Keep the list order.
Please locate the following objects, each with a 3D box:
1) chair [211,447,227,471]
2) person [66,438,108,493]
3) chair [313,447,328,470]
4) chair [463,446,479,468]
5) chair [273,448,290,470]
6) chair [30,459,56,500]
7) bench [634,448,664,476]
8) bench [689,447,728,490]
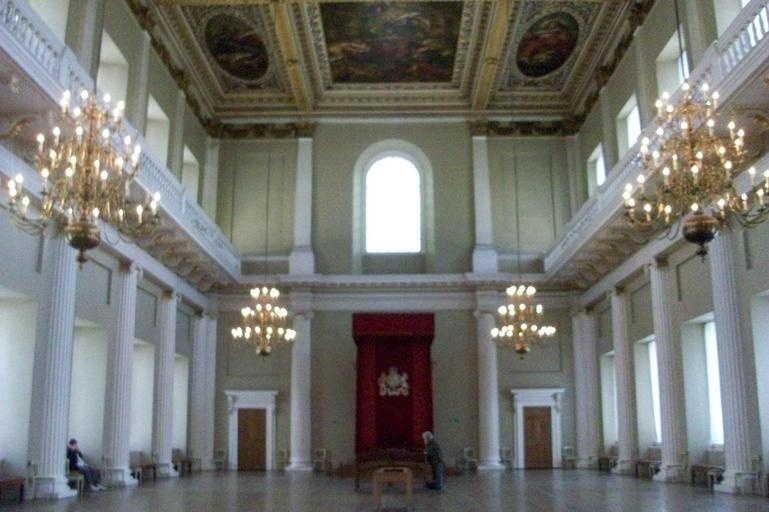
[{"bbox_3d":[-6.075,7.519,23.414,0.563,0.943,0.595,0,-18,-2],"label":"chair"},{"bbox_3d":[-8.052,5.565,16.761,0.796,1.412,0.532,-13,-9,-3],"label":"person"},{"bbox_3d":[-2.304,7.490,23.314,0.673,0.833,0.608,1,-4,-2],"label":"chair"},{"bbox_3d":[3.157,7.451,23.203,0.601,1.023,0.607,0,-22,-1],"label":"chair"},{"bbox_3d":[-3.873,7.511,23.309,0.603,1.034,0.590,-1,-12,2],"label":"chair"},{"bbox_3d":[-8.046,5.240,14.856,0.538,0.783,0.579,0,-12,-6],"label":"chair"},{"bbox_3d":[8.318,6.430,19.682,0.415,0.773,1.251,2,-14,-12],"label":"bench"},{"bbox_3d":[8.771,5.759,16.938,0.645,0.871,0.891,3,-10,-8],"label":"bench"}]
